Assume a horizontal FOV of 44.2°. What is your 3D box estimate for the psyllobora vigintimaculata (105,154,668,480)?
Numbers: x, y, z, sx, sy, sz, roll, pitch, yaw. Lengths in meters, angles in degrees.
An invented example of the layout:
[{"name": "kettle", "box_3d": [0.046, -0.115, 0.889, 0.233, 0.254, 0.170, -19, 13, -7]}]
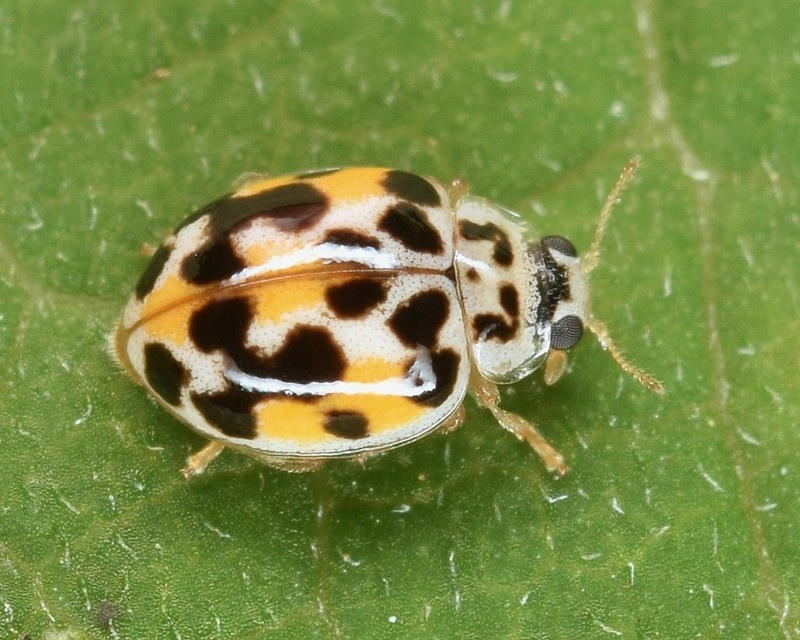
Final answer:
[{"name": "psyllobora vigintimaculata", "box_3d": [-0.073, 0.012, 4.953, 2.657, 1.428, 0.772, -13, 66, -5]}]
